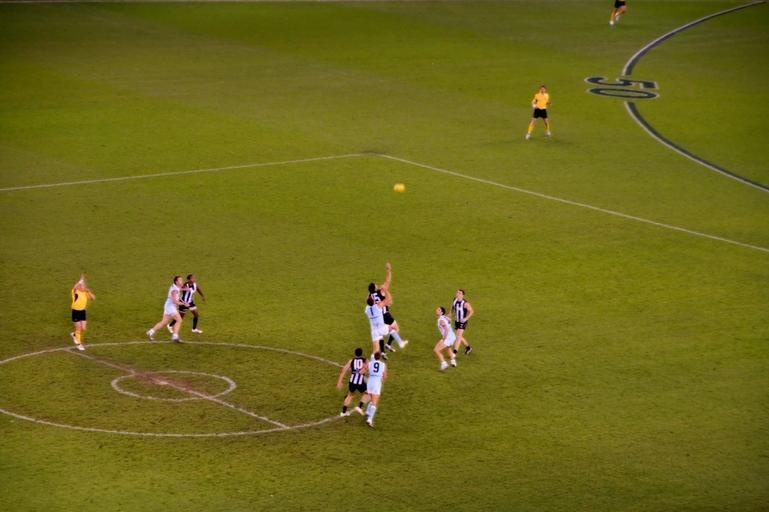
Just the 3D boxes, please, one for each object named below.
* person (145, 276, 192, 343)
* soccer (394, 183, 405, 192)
[{"bbox_3d":[-8.722,2.057,49.843,1.147,2.678,1.337,6,23,-8],"label":"person"},{"bbox_3d":[0.804,-3.374,61.462,0.595,0.291,0.559,8,16,26],"label":"soccer"}]
